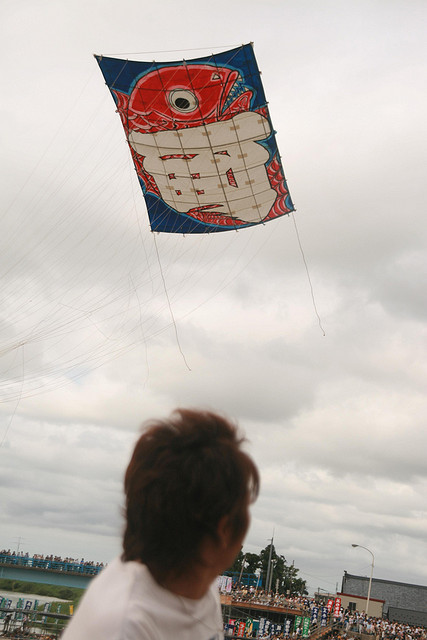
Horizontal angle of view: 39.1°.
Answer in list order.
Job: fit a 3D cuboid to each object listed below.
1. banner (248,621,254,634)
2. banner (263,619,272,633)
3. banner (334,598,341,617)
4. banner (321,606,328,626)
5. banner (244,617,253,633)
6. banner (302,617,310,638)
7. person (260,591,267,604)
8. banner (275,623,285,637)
[{"bbox_3d":[2.020,16.959,33.043,0.162,0.679,0.203,22,2,-7],"label":"banner"},{"bbox_3d":[3.015,17.214,33.923,0.299,0.597,0.809,7,-17,9],"label":"banner"},{"bbox_3d":[7.921,18.455,38.580,0.341,0.980,0.802,5,-18,15],"label":"banner"},{"bbox_3d":[6.890,18.423,37.358,0.406,0.879,0.784,6,-17,13],"label":"banner"},{"bbox_3d":[1.900,16.973,33.542,0.226,0.770,0.480,13,-7,-35],"label":"banner"},{"bbox_3d":[4.941,16.400,32.202,0.319,0.835,0.700,6,-17,11],"label":"banner"},{"bbox_3d":[3.178,17.850,38.639,0.554,0.453,1.486,7,-16,0],"label":"person"},{"bbox_3d":[3.737,17.520,34.017,0.526,0.463,0.827,6,-17,10],"label":"banner"}]
